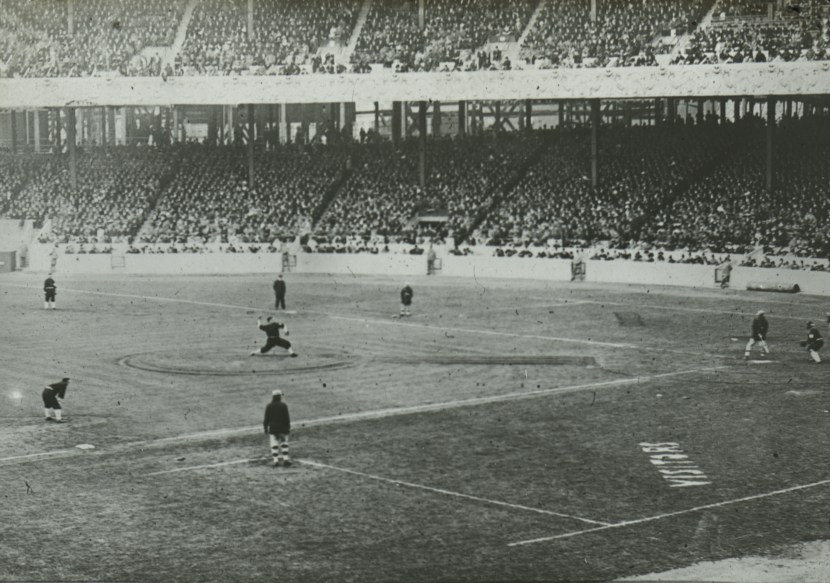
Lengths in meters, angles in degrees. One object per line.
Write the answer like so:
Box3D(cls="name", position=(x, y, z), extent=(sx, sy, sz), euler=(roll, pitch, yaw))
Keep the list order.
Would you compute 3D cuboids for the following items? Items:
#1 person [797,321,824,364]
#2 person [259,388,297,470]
Box3D(cls="person", position=(16.396, 1.850, 72.975), extent=(0.928, 1.558, 3.176), euler=(2, 13, 12))
Box3D(cls="person", position=(-5.003, 4.853, 63.312), extent=(0.922, 2.670, 1.049), euler=(-2, 13, -5))
